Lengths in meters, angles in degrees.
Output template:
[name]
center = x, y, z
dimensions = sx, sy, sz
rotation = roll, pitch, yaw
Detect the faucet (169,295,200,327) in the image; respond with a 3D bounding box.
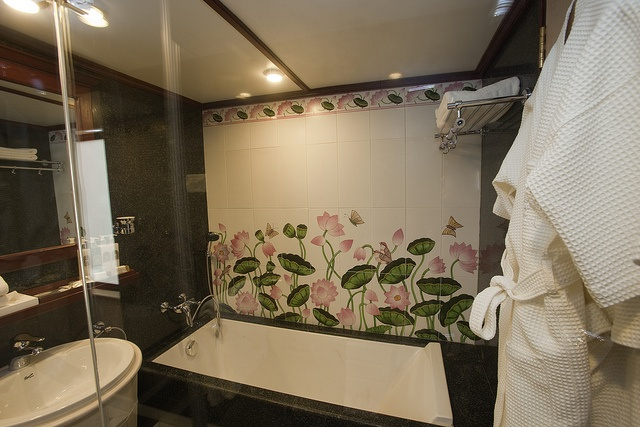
[faucet]
center = -0.631, 0.459, 2.083
dimensions = 0.054, 0.136, 0.127
rotation = -10, -5, 26

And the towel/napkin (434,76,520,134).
[towel/napkin]
center = 0.747, -0.524, 2.195
dimensions = 0.320, 0.184, 0.548
rotation = -3, 4, 8
